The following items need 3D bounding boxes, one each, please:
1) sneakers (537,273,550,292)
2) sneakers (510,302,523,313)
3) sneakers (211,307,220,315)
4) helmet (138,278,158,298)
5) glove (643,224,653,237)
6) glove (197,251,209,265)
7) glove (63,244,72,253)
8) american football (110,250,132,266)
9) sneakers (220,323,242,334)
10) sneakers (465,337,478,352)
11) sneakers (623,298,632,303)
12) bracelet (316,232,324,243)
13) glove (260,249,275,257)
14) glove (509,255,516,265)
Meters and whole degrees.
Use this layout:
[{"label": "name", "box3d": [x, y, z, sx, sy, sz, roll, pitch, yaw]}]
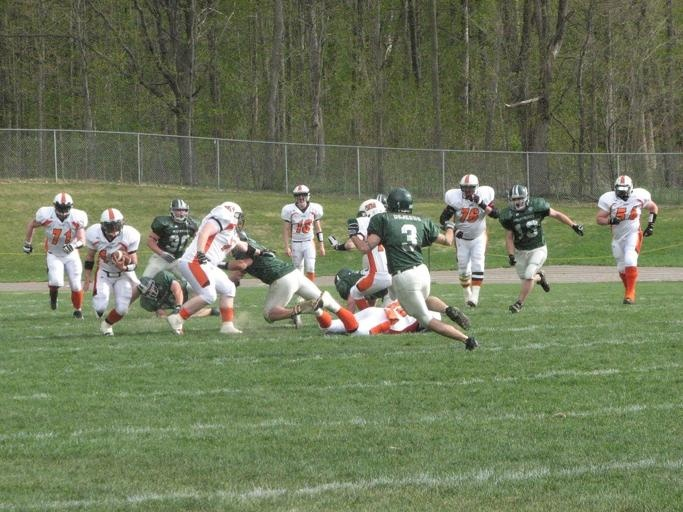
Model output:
[{"label": "sneakers", "box3d": [5.171, 0.670, 35.358, 0.180, 0.546, 0.249, -40, -14, 27]}, {"label": "sneakers", "box3d": [4.188, 1.214, 33.022, 0.331, 0.243, 0.276, -4, 2, -14]}, {"label": "sneakers", "box3d": [-3.142, 1.336, 33.716, 0.242, 0.118, 0.327, -1, -6, 6]}, {"label": "helmet", "box3d": [-4.518, 0.719, 31.945, 0.432, 0.343, 0.441, 28, 9, 28]}, {"label": "glove", "box3d": [8.379, -0.724, 37.564, 0.113, 0.311, 0.324, 25, 1, 16]}, {"label": "glove", "box3d": [-3.206, 0.030, 31.406, 0.222, 0.262, 0.261, -40, -23, -10]}, {"label": "glove", "box3d": [-6.692, -0.193, 33.445, 0.224, 0.219, 0.265, -4, 2, -14]}, {"label": "american football", "box3d": [-5.131, 0.054, 31.788, 0.388, 0.302, 0.356, 24, -6, 31]}, {"label": "sneakers", "box3d": [-2.673, 1.660, 31.796, 0.634, 0.272, 0.202, 1, 4, 4]}, {"label": "sneakers", "box3d": [2.826, 1.915, 30.143, 0.145, 0.288, 0.451, 2, 6, -36]}, {"label": "sneakers", "box3d": [7.021, 1.091, 33.638, 0.238, 0.115, 0.184, -3, 2, 12]}, {"label": "bracelet", "box3d": [-0.626, -0.553, 38.266, 0.227, 0.255, 0.258, -3, 0, -3]}, {"label": "glove", "box3d": [-1.743, -0.094, 31.838, 0.386, 0.138, 0.171, 2, -16, -3]}, {"label": "glove", "box3d": [4.153, 0.083, 33.486, 0.164, 0.137, 0.221, 8, -22, 12]}]
